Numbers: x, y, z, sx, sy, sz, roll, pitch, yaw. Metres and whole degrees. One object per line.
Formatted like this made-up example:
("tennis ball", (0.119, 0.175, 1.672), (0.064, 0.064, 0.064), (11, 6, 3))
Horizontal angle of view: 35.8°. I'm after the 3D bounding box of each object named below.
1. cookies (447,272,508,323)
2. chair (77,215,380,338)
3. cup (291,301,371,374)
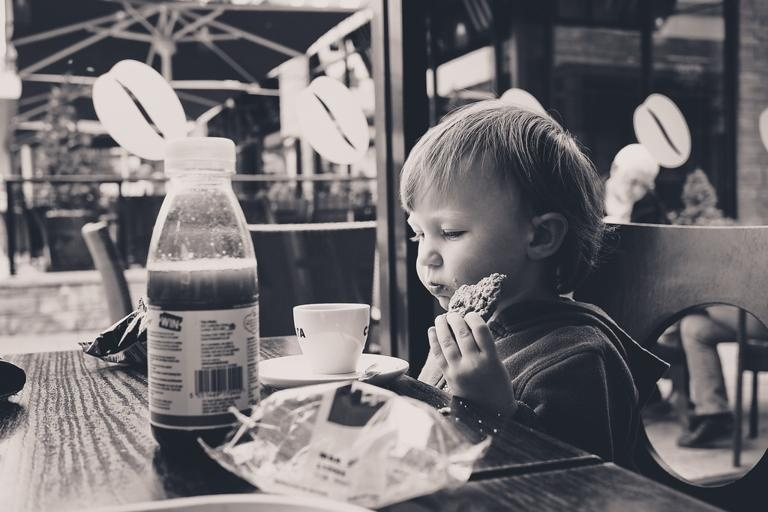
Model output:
("cookies", (0.526, 0.202, 6.688), (0.276, 0.075, 0.269), (-44, 34, -7))
("chair", (-0.830, 0.031, 8.179), (1.124, 0.970, 1.083), (0, 0, 39))
("cup", (-0.300, 0.455, 6.678), (0.374, 0.327, 0.379), (-4, -7, 0))
